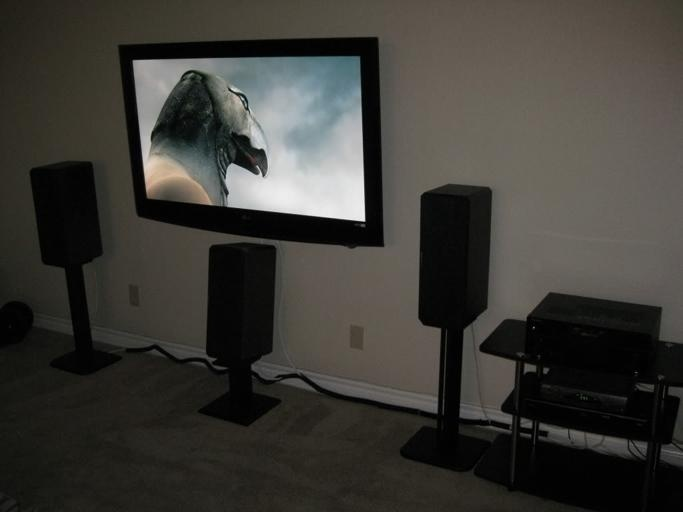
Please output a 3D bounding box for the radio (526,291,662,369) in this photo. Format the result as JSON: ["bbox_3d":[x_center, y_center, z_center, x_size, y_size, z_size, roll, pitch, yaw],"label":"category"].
[{"bbox_3d":[1.128,0.350,2.711,0.529,0.251,0.403,8,11,30],"label":"radio"}]

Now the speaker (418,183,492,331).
[{"bbox_3d":[0.537,-0.006,2.931,0.309,0.669,0.390,6,10,24],"label":"speaker"}]

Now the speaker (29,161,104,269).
[{"bbox_3d":[-1.745,-0.268,3.816,0.209,0.663,0.365,8,11,33],"label":"speaker"}]

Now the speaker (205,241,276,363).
[{"bbox_3d":[-0.571,0.183,3.365,0.376,0.751,0.360,3,26,-8],"label":"speaker"}]
